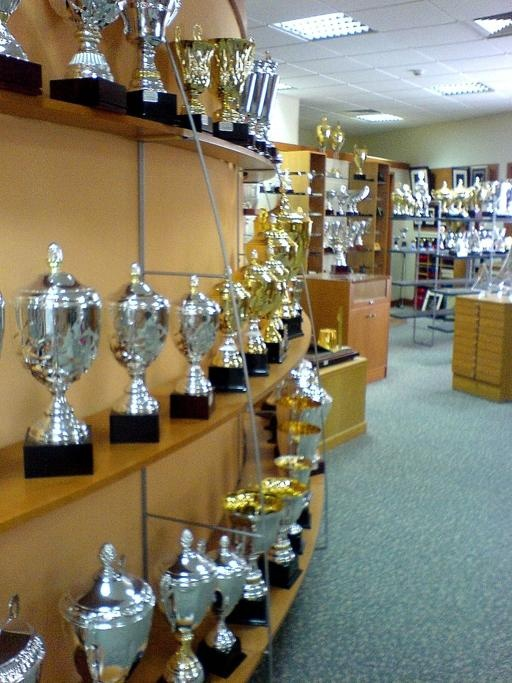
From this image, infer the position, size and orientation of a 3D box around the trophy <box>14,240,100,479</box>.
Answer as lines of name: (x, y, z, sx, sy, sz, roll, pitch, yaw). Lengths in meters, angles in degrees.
trophy: (-0.290, 0.019, 0.837, 0.126, 0.323, 0.140, 18, 16, 33)

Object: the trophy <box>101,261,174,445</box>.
trophy: (-0.213, 0.016, 0.994, 0.104, 0.309, 0.128, 0, 10, -1)

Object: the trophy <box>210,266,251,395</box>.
trophy: (-0.079, -0.010, 1.427, 0.133, 0.273, 0.109, 1, -2, -10)

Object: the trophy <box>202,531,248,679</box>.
trophy: (-0.064, 0.633, 1.329, 0.103, 0.312, 0.123, 2, 15, -28)
